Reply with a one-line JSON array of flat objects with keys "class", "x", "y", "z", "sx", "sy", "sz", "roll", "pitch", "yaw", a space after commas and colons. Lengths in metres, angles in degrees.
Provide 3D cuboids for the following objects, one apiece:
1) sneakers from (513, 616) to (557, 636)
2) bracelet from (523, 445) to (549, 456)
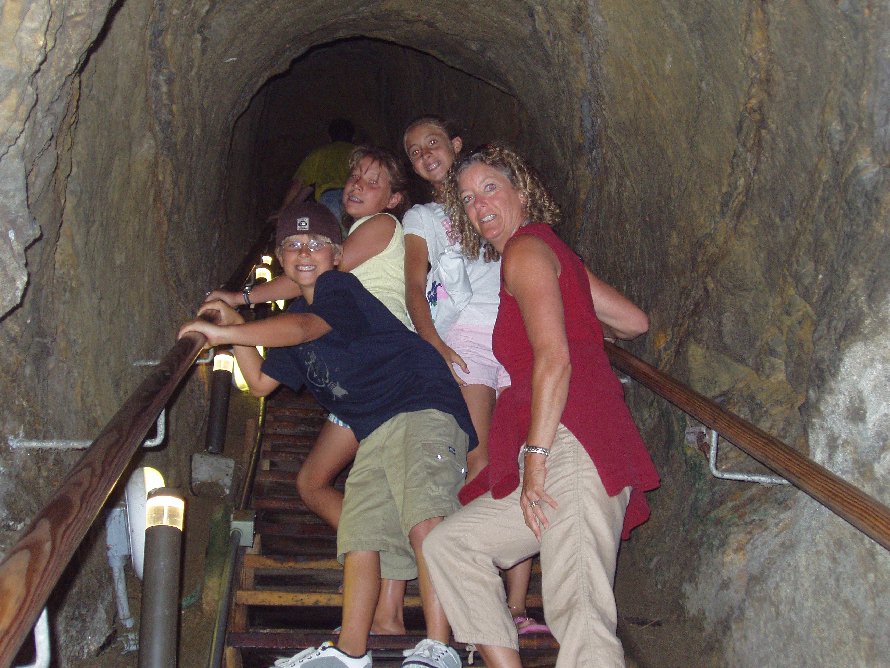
[{"class": "sneakers", "x": 0.398, "y": 1.304, "z": 4.085, "sx": 0.163, "sy": 0.054, "sz": 0.126, "roll": 8, "pitch": 3, "yaw": -13}, {"class": "bracelet", "x": 0.331, "y": 0.416, "z": 3.299, "sx": 0.090, "sy": 0.040, "sz": 0.048, "roll": -3, "pitch": -12, "yaw": 15}]
